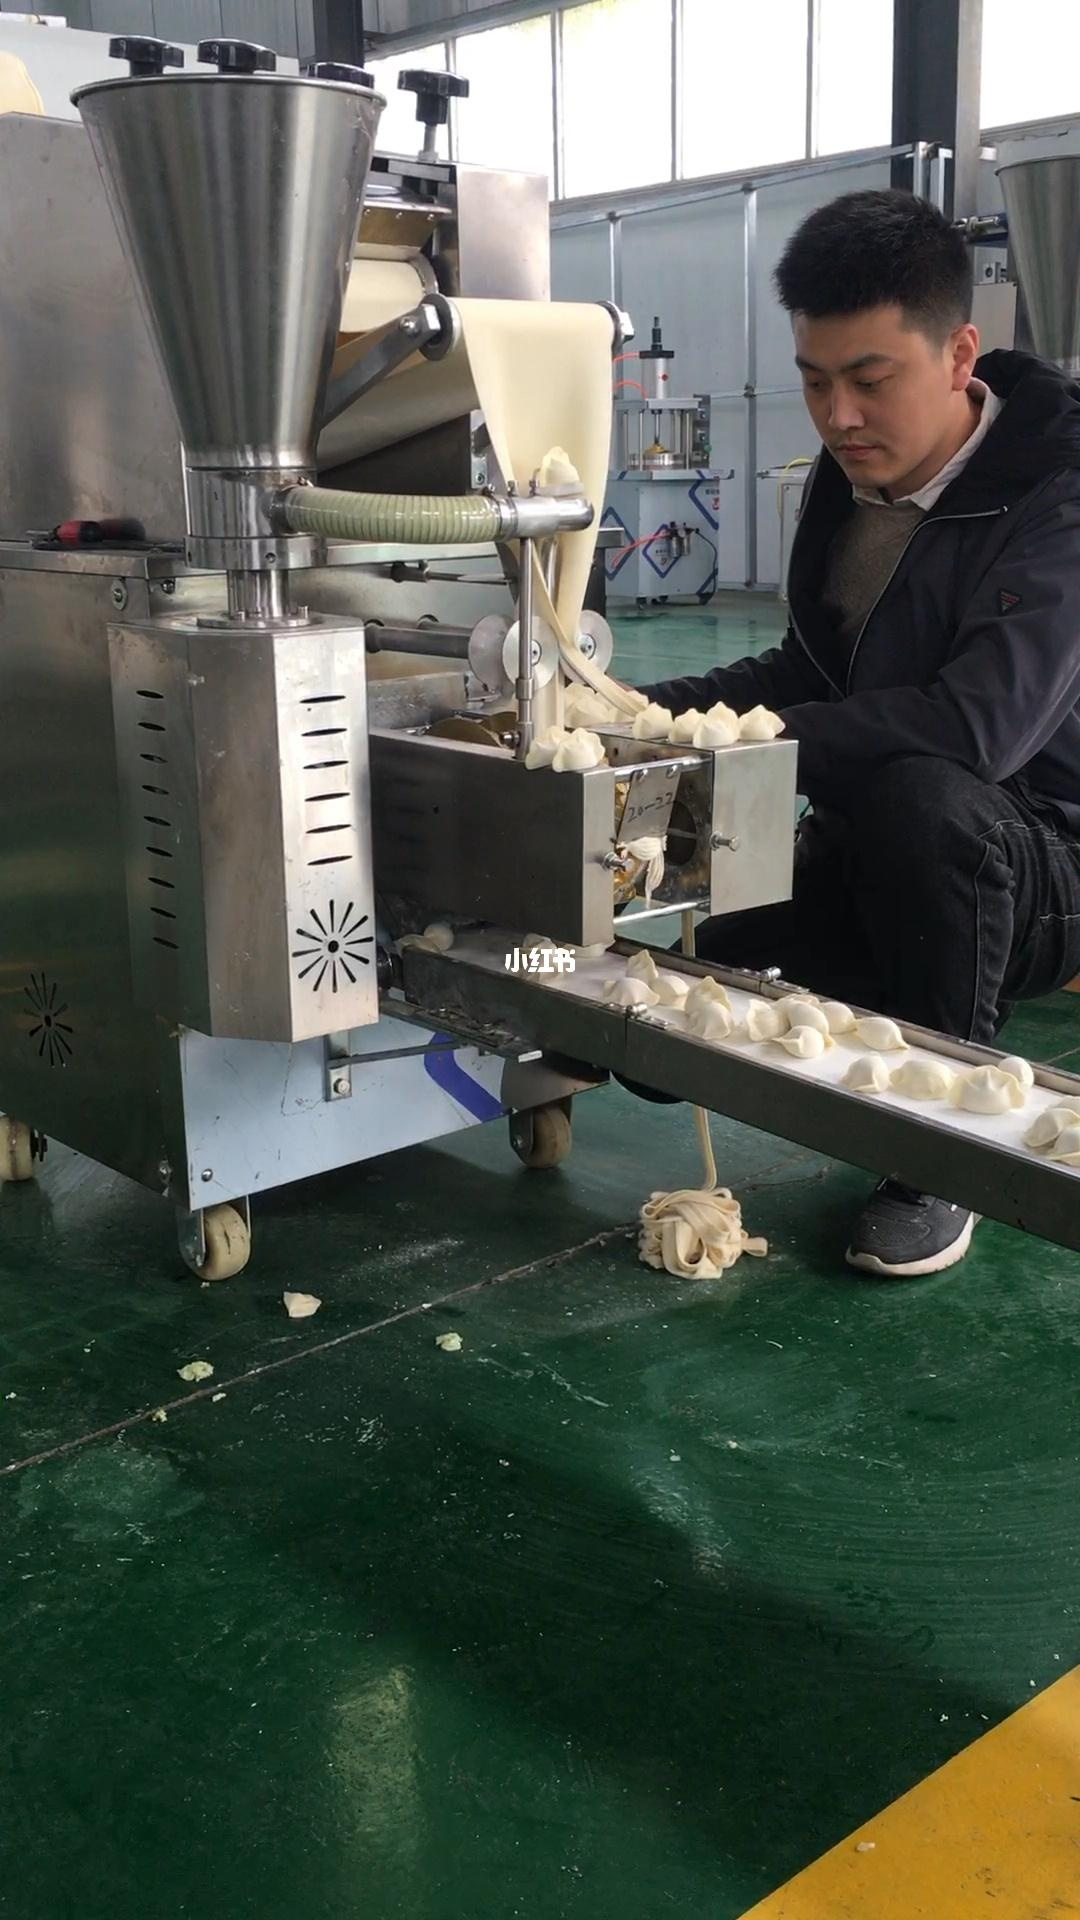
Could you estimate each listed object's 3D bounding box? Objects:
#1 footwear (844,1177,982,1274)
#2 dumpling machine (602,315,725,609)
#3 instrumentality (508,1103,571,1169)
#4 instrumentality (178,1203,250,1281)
[{"bbox_3d":[0.416,0.293,1.556,0.095,0.084,0.210,-10,-9,28],"label":"footwear"},{"bbox_3d":[0.793,-3.198,9.082,0.685,1.699,0.677,-5,14,-12],"label":"dumpling machine"},{"bbox_3d":[0.000,0.231,1.856,0.060,0.091,0.069,-12,18,-31],"label":"instrumentality"},{"bbox_3d":[-0.362,0.311,1.549,0.053,0.069,0.092,-5,6,-32],"label":"instrumentality"}]
